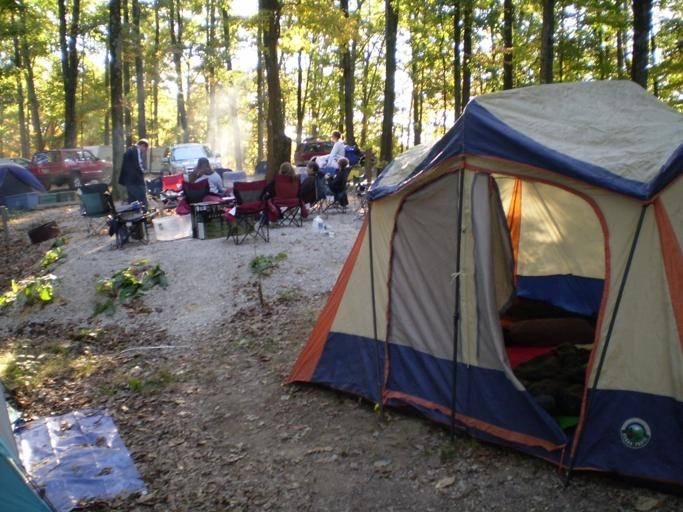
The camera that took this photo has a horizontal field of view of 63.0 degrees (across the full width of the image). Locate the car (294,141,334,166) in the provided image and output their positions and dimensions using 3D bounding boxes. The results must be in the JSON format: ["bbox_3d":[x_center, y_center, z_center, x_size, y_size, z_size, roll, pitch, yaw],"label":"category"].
[{"bbox_3d":[-1.222,-4.365,23.189,1.764,1.020,1.020,-13,19,-5],"label":"car"}]
